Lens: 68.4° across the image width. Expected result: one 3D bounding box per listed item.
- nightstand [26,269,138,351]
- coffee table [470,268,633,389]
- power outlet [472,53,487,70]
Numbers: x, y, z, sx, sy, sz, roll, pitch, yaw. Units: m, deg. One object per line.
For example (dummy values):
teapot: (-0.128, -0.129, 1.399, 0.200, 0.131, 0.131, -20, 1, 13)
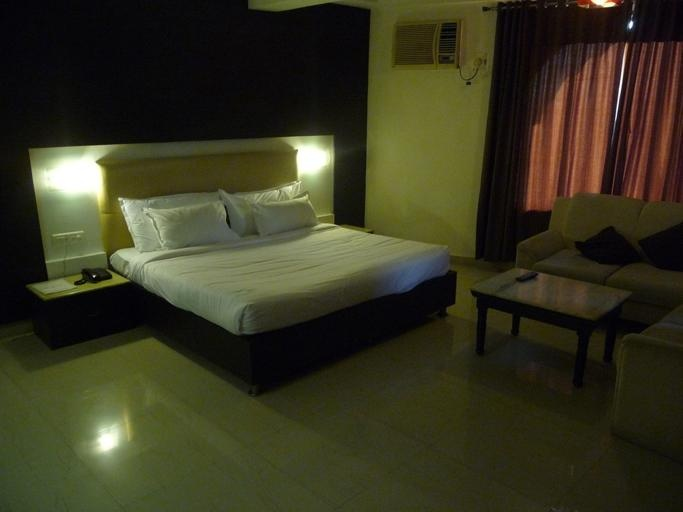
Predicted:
nightstand: (-2.347, 0.500, 4.637, 0.833, 0.654, 0.802, -10, 17, -40)
coffee table: (1.741, 0.495, 4.359, 1.174, 0.864, 1.223, 12, 16, 31)
power outlet: (1.629, -2.329, 6.012, 0.123, 0.181, 0.049, 17, 15, 37)
